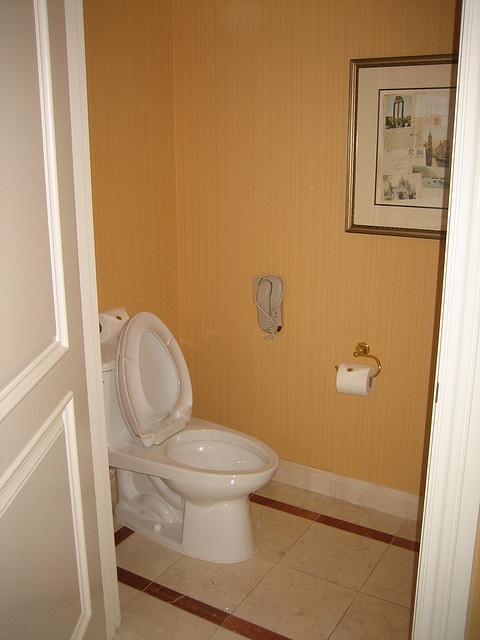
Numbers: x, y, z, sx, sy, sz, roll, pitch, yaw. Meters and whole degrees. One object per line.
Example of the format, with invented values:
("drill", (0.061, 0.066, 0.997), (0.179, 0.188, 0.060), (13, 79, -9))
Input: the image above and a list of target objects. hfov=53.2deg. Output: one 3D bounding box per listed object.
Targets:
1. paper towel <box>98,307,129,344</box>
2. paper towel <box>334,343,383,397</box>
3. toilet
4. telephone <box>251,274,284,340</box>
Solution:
("paper towel", (-0.474, 0.006, 1.810), (0.101, 0.127, 0.125), (8, 19, 17))
("paper towel", (0.497, 0.201, 1.999), (0.148, 0.189, 0.202), (6, 11, 30))
("toilet", (-0.219, 0.442, 1.921), (0.728, 0.940, 0.432), (6, 13, 27))
("telephone", (0.114, -0.068, 2.187), (0.147, 0.283, 0.069), (6, 11, 29))
